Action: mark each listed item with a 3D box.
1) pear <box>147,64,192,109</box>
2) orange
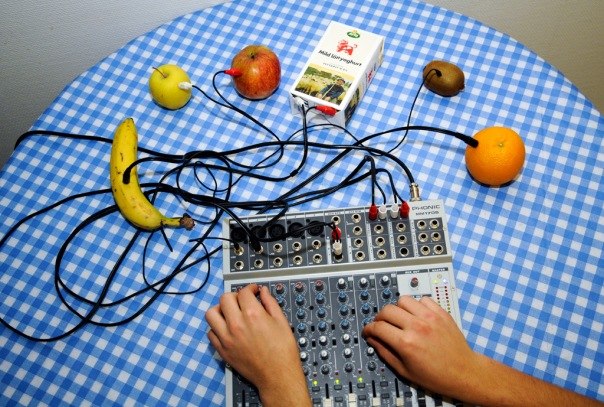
[{"bbox_3d":[-0.788,-0.707,3.444,0.257,0.245,0.329,-6,38,-12],"label":"pear"},{"bbox_3d":[1.087,-0.272,3.220,0.296,0.156,0.299,-3,79,-4],"label":"orange"}]
